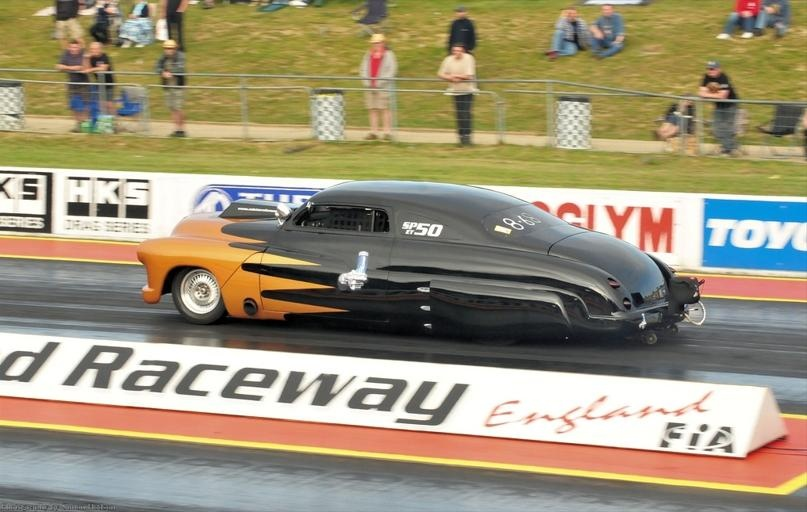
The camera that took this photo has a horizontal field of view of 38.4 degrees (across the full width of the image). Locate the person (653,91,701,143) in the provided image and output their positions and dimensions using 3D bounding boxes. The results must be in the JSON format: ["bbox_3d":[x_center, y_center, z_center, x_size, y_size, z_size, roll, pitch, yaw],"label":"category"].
[{"bbox_3d":[5.831,-2.943,24.847,0.455,0.976,0.748,-11,22,-18],"label":"person"}]

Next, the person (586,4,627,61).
[{"bbox_3d":[5.381,-5.950,31.137,0.591,1.145,0.984,16,27,37],"label":"person"}]

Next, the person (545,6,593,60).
[{"bbox_3d":[4.460,-6.046,31.266,1.043,1.325,0.769,0,22,4],"label":"person"}]

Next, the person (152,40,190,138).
[{"bbox_3d":[-5.392,-3.946,27.164,0.641,2.249,0.869,-7,24,-9],"label":"person"}]

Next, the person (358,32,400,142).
[{"bbox_3d":[-0.561,-3.886,26.454,0.796,2.442,0.877,-3,24,-1],"label":"person"}]

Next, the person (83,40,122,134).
[{"bbox_3d":[-7.182,-4.014,27.318,0.758,2.077,0.967,-7,23,-10],"label":"person"}]

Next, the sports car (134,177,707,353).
[{"bbox_3d":[0.296,0.016,18.558,8.905,1.248,3.232,2,4,15],"label":"sports car"}]

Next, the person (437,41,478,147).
[{"bbox_3d":[1.294,-3.619,25.937,0.777,2.275,0.886,-10,25,-16],"label":"person"}]

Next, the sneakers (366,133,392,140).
[{"bbox_3d":[-0.542,-2.754,26.602,0.698,0.145,0.166,2,1,8],"label":"sneakers"}]
